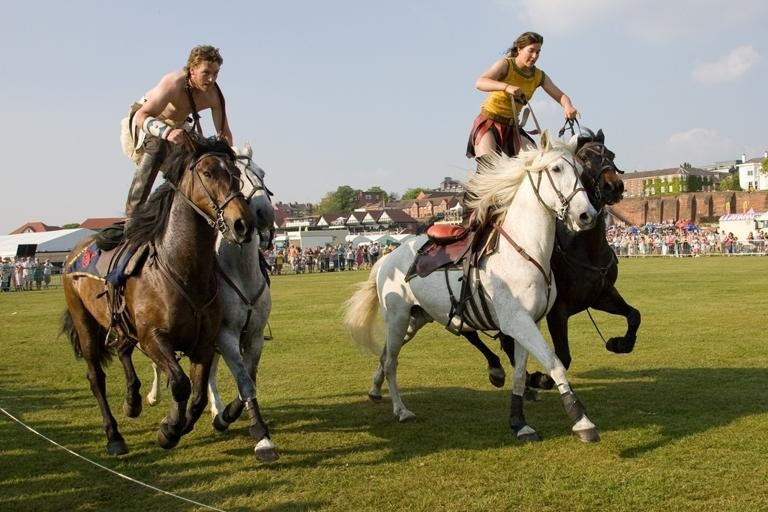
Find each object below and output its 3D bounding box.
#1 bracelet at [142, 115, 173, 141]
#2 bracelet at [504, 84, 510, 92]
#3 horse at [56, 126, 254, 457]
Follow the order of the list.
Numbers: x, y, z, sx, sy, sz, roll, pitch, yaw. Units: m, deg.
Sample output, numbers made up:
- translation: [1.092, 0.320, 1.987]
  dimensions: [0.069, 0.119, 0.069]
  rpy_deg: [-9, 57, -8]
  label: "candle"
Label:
- translation: [-2.634, -1.624, 7.498]
  dimensions: [0.484, 0.260, 0.204]
  rpy_deg: [25, 25, 29]
  label: "bracelet"
- translation: [1.636, -2.407, 8.496]
  dimensions: [0.044, 0.108, 0.085]
  rpy_deg: [12, -18, -33]
  label: "bracelet"
- translation: [-2.624, 0.456, 7.396]
  dimensions: [3.013, 3.872, 1.078]
  rpy_deg: [2, 8, 43]
  label: "horse"
